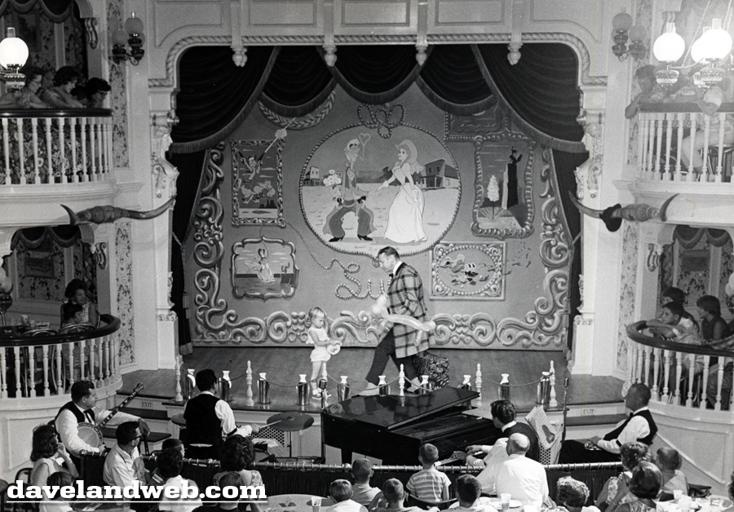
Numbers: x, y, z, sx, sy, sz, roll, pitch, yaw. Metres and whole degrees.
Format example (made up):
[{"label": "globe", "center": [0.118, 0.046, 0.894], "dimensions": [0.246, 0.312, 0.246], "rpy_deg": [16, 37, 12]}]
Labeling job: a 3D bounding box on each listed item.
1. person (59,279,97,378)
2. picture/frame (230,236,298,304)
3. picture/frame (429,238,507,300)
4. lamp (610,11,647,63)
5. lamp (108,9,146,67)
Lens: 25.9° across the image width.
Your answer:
[{"label": "person", "center": [-3.636, 0.942, 20.440], "dimensions": [0.486, 1.303, 0.914], "rpy_deg": [1, -9, -10]}, {"label": "picture/frame", "center": [-1.421, 0.139, 22.608], "dimensions": [0.968, 0.954, 0.076], "rpy_deg": [0, 5, 4]}, {"label": "picture/frame", "center": [1.469, 0.139, 22.449], "dimensions": [0.887, 0.649, 0.041], "rpy_deg": [0, 5, 4]}, {"label": "lamp", "center": [3.368, -2.853, 20.468], "dimensions": [0.616, 0.683, 0.281], "rpy_deg": [4, 23, 19]}, {"label": "lamp", "center": [-3.068, -2.848, 20.786], "dimensions": [0.399, 0.667, 0.533], "rpy_deg": [-3, 3, 27]}]
